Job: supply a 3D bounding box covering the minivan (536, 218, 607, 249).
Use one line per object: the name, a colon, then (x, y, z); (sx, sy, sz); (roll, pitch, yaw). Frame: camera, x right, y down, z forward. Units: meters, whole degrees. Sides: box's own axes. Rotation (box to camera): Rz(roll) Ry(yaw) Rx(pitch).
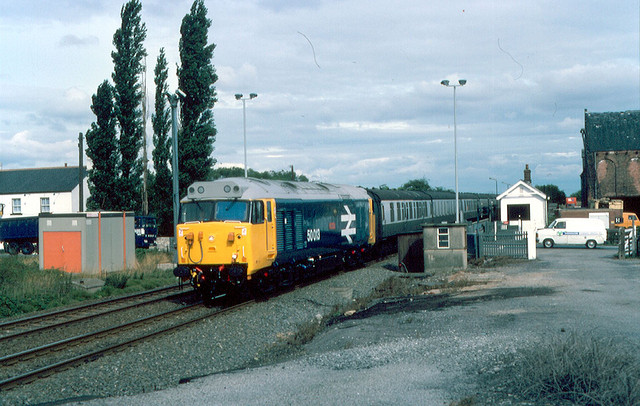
minivan: (16.817, 2.070, 43.446); (3.990, 1.926, 1.756); (0, 0, 25)
